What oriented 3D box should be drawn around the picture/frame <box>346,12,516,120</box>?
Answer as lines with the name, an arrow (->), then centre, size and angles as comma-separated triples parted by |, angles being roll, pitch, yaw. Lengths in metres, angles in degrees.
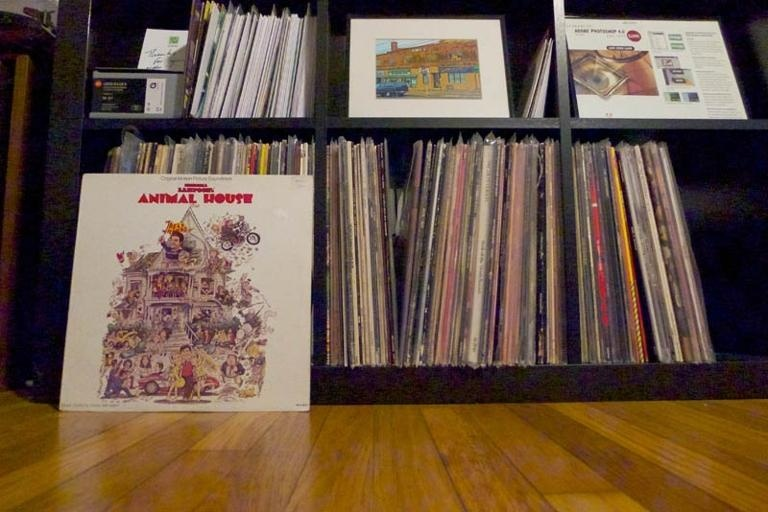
picture/frame -> 0.157, -0.672, 2.050 | 0.475, 0.299, 0.012 | 0, -16, -1

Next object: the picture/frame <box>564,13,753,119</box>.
picture/frame -> 1.003, -0.677, 2.084 | 0.509, 0.333, 0.049 | 0, -23, -1

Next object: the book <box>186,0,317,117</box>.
book -> -0.445, -0.660, 2.000 | 0.366, 0.441, 0.164 | 5, -7, 2

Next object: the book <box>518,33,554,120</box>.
book -> 0.543, -0.639, 2.036 | 0.067, 0.259, 0.268 | 7, 5, 4
